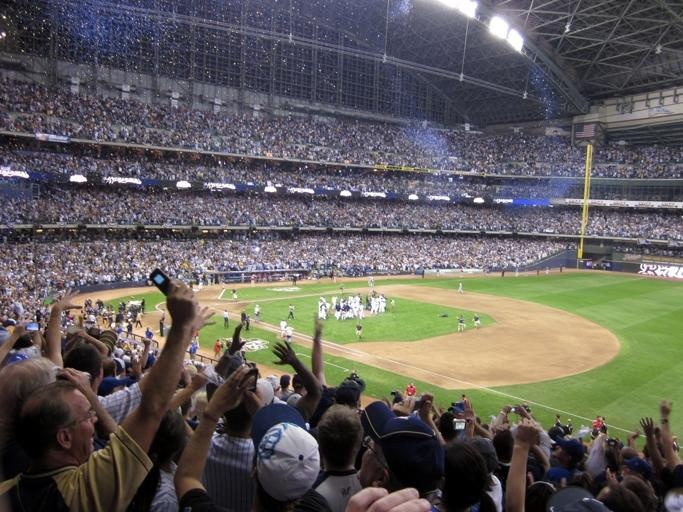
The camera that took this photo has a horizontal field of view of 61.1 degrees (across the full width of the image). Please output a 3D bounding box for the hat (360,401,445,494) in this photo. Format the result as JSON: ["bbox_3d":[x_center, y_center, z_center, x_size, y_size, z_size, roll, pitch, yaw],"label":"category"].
[{"bbox_3d":[0.774,2.369,7.268,0.767,0.655,1.182,-5,37,-30],"label":"hat"}]

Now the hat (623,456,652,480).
[{"bbox_3d":[5.375,3.845,10.478,0.285,0.235,0.431,-18,16,-39],"label":"hat"}]

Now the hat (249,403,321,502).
[{"bbox_3d":[-0.707,2.376,6.958,0.680,0.901,0.831,-2,6,-25],"label":"hat"}]
